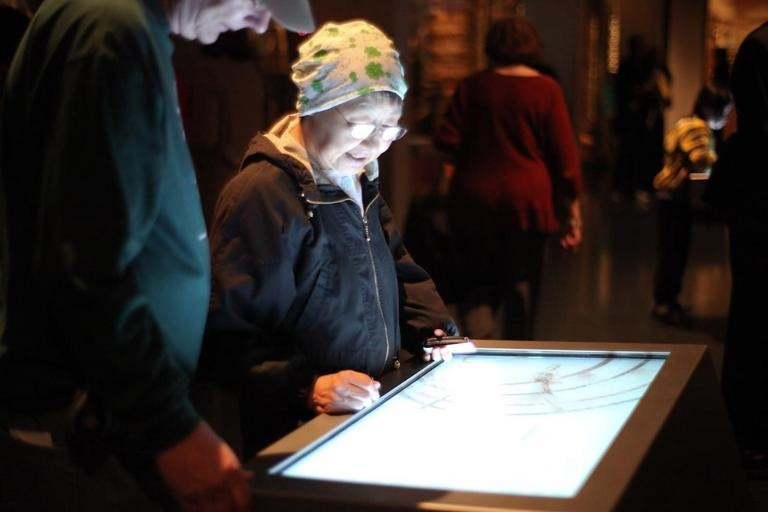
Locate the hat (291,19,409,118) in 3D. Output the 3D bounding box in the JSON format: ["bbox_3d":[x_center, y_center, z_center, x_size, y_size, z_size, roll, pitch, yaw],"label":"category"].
[{"bbox_3d":[-0.107,-0.575,2.229,0.324,0.289,0.256,-28,7,17],"label":"hat"}]
